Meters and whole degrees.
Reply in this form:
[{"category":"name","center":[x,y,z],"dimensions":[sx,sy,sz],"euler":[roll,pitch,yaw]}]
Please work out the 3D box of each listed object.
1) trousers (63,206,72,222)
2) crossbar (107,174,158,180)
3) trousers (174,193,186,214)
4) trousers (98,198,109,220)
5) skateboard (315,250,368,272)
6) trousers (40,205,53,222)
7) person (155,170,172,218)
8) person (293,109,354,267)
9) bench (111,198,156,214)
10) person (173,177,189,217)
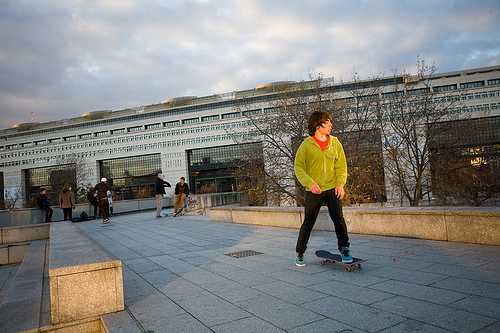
[{"category":"trousers","center":[-8.986,2.356,17.680],"dimensions":[0.364,0.639,0.646],"euler":[-4,2,-29]},{"category":"crossbar","center":[-24.399,2.280,73.523],"dimensions":[9.880,0.883,0.498],"euler":[-3,2,14]},{"category":"trousers","center":[-3.737,1.922,19.083],"dimensions":[0.630,0.823,1.643],"euler":[-4,1,-11]},{"category":"trousers","center":[-6.968,2.012,17.056],"dimensions":[0.392,0.903,0.811],"euler":[-4,2,-23]},{"category":"skateboard","center":[1.660,1.837,6.679],"dimensions":[0.286,0.189,1.053],"euler":[-8,7,-42]},{"category":"trousers","center":[-10.076,2.351,17.911],"dimensions":[0.385,0.790,0.615],"euler":[-3,2,7]},{"category":"person","center":[-4.293,1.407,17.635],"dimensions":[0.930,2.151,0.800],"euler":[-2,-5,16]},{"category":"person","center":[1.315,0.434,6.655],"dimensions":[1.023,2.894,0.550],"euler":[-3,2,6]},{"category":"bench","center":[-8.119,2.768,25.058],"dimensions":[0.300,0.937,4.385],"euler":[-3,1,21]},{"category":"person","center":[-3.705,1.571,19.016],"dimensions":[0.840,1.558,2.292],"euler":[-4,2,-12]}]
